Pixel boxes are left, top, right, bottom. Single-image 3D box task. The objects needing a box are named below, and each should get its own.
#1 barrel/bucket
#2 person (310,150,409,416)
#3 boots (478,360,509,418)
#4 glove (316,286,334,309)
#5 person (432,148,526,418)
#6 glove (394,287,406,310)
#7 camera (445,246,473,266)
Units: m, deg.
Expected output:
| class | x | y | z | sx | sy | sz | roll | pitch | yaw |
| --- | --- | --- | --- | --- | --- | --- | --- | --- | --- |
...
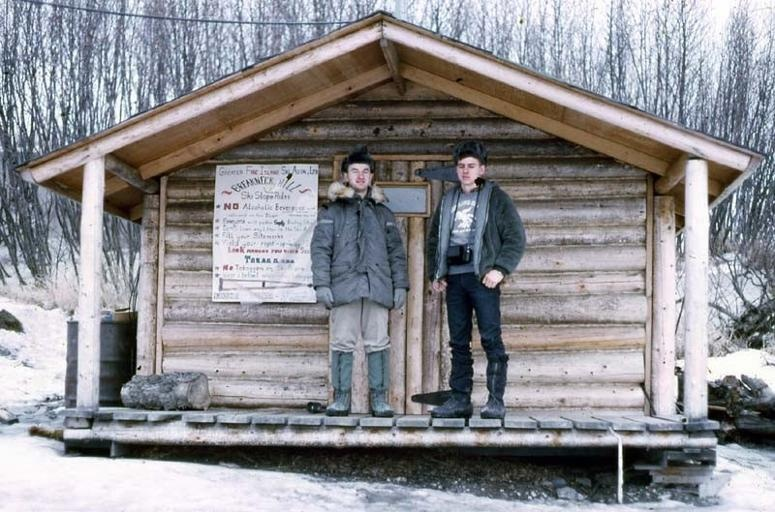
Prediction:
| class | x | y | z | sx | sy | sz | roll | pitch | yaw |
| --- | --- | --- | --- | --- | --- | --- | --- | --- | --- |
| barrel/bucket | -4.926 | 1.831 | 19.657 | 1.354 | 1.972 | 1.347 | 1 | -4 | 0 |
| person | -0.463 | 0.400 | 17.667 | 1.467 | 4.207 | 0.590 | 1 | -10 | -3 |
| boots | 1.659 | 2.073 | 17.407 | 0.391 | 0.927 | 0.351 | 0 | -10 | 4 |
| glove | -0.968 | 0.661 | 17.501 | 0.235 | 0.315 | 0.272 | -4 | -12 | -11 |
| person | 1.355 | 0.384 | 17.496 | 1.423 | 4.280 | 0.758 | 0 | -10 | 1 |
| glove | 0.187 | 0.708 | 17.751 | 0.244 | 0.286 | 0.318 | -2 | -21 | 12 |
| camera | 1.139 | 0.024 | 17.463 | 0.427 | 0.368 | 0.296 | -2 | -10 | 23 |
